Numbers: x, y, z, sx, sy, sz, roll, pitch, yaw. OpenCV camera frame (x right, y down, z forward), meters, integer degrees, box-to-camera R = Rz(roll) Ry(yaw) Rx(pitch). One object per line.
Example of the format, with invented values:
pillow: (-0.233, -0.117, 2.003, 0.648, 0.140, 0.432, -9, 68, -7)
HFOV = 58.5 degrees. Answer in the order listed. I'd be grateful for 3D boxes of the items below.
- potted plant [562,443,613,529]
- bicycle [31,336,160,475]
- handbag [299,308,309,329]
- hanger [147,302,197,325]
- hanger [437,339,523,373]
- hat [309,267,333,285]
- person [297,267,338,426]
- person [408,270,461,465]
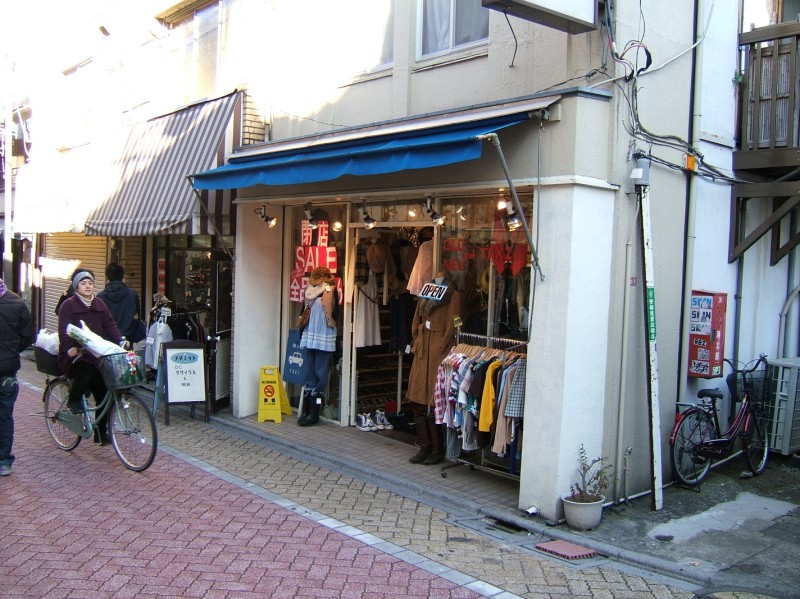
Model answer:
potted plant: (2.100, 2.033, 7.843, 0.380, 0.799, 0.829, 7, 9, 37)
bicycle: (-3.911, 1.390, 9.115, 2.201, 1.579, 0.777, 8, 10, 41)
handbag: (-1.483, 0.299, 11.001, 0.139, 0.384, 0.273, 10, -1, -14)
hanger: (-4.045, 0.253, 12.641, 0.645, 0.487, 0.715, 2, -1, 2)
hanger: (1.008, 0.680, 8.708, 1.054, 0.416, 0.684, 3, 8, 14)
hat: (-1.211, -0.368, 10.971, 0.220, 0.311, 0.309, -1, 23, 7)
person: (-1.264, 0.729, 11.006, 0.592, 2.411, 0.390, 0, 7, -5)
person: (0.420, 0.936, 9.361, 0.683, 2.435, 0.611, 3, 7, 15)
